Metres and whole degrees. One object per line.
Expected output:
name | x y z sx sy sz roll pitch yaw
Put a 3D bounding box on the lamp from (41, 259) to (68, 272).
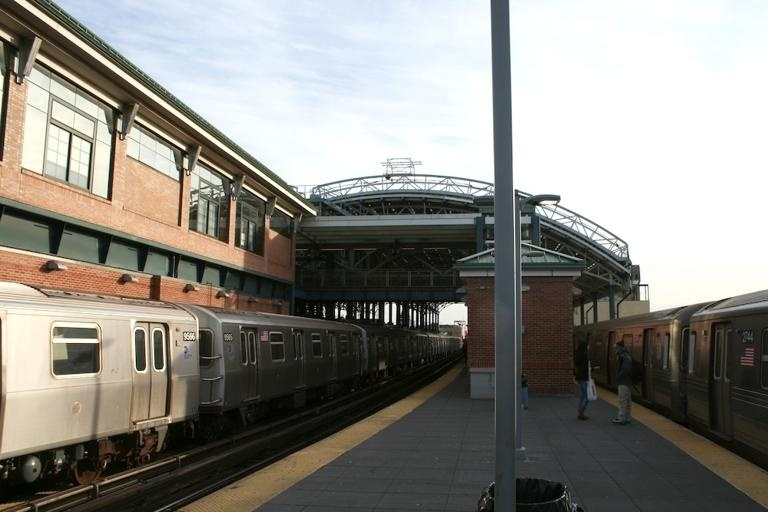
lamp | -10.627 0.350 20.561 0.390 0.270 0.525 1 -7 3
